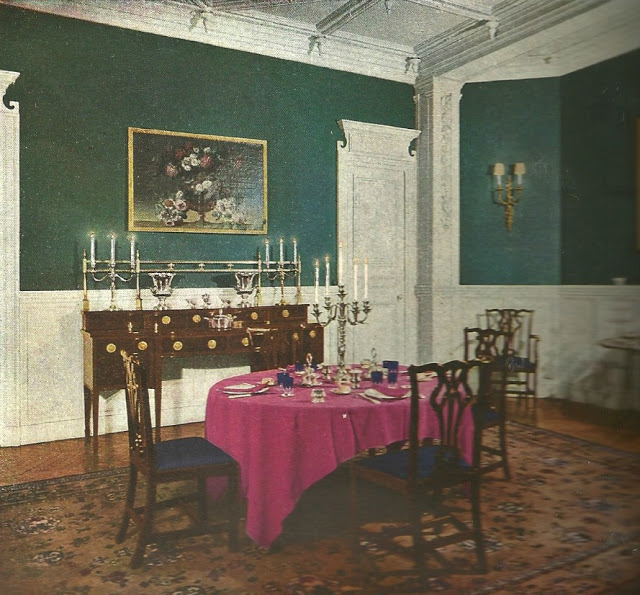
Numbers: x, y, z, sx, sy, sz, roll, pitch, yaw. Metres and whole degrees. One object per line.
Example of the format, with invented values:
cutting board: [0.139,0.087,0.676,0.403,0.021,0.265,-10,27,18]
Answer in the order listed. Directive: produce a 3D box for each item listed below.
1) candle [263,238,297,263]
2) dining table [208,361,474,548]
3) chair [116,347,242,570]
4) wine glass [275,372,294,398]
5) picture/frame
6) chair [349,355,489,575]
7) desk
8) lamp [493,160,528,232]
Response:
candle: [-0.387,-0.466,7.069,0.410,0.252,0.154,-5,15,-22]
dining table: [-0.093,0.806,4.056,1.187,0.438,1.023,0,-2,-14]
chair: [-0.858,0.864,4.128,0.694,1.091,0.702,-4,15,-15]
wine glass: [-0.222,0.535,4.362,0.143,0.116,0.125,-3,5,-19]
picture/frame: [-1.136,-1.065,6.671,0.059,0.916,1.565,8,9,42]
chair: [0.615,0.845,4.181,0.743,1.139,0.849,2,14,8]
desk: [-0.939,0.621,5.275,1.529,0.640,0.394,-2,8,-21]
lamp: [2.068,-1.137,7.952,0.346,0.721,0.220,6,16,22]
